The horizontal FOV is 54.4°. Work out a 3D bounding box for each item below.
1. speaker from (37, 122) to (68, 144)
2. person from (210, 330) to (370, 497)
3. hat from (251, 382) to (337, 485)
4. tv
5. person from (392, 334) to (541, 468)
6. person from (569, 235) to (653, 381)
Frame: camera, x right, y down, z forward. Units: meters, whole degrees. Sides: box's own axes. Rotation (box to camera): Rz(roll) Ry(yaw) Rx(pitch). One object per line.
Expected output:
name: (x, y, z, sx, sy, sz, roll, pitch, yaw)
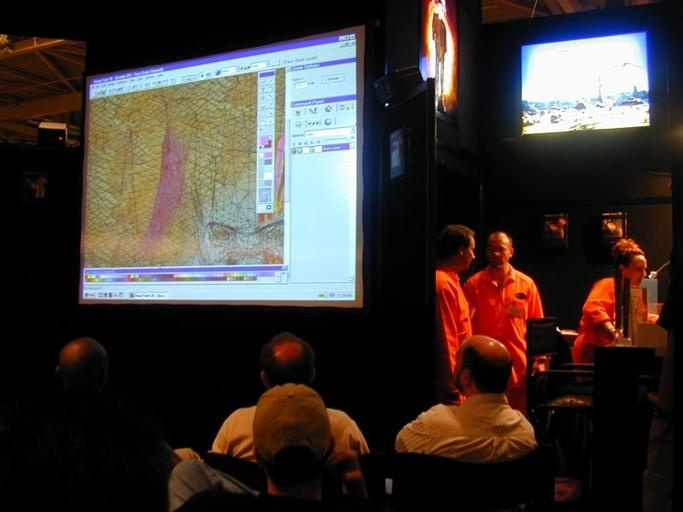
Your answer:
speaker: (-1.832, -0.774, 4.208, 0.155, 0.161, 0.178, -3, 3, -16)
person: (-0.264, 0.698, 3.120, 0.433, 0.389, 0.817, 10, 6, -18)
hat: (-0.176, 0.617, 2.424, 0.239, 0.191, 0.333, -1, 39, -5)
tv: (2.455, -1.689, 6.524, 1.136, 0.881, 0.039, 0, -2, 20)
person: (0.639, 0.662, 3.203, 0.843, 0.566, 0.466, 4, 0, -34)
person: (2.123, 0.401, 5.200, 0.733, 1.200, 0.436, 26, -23, -34)
